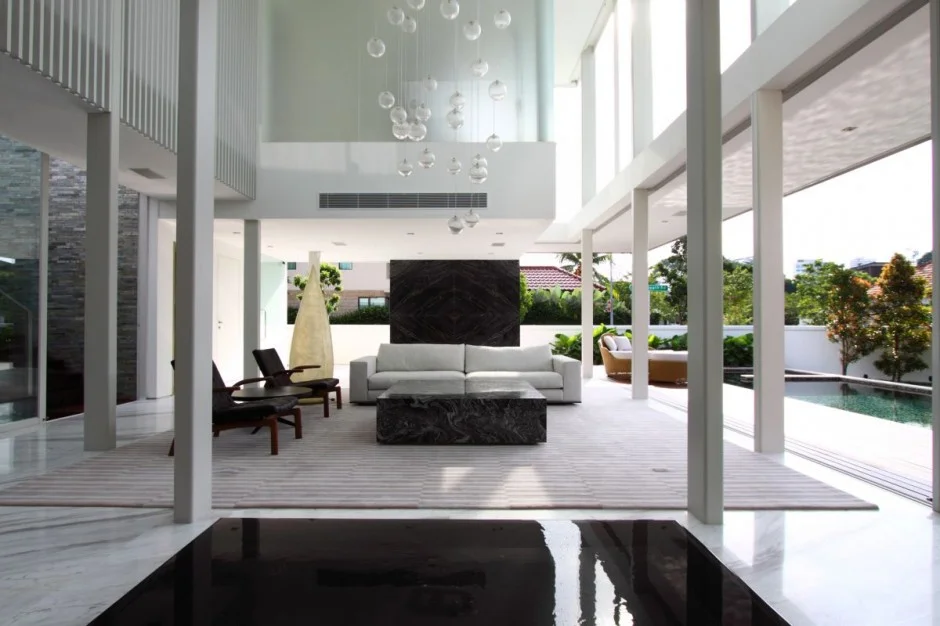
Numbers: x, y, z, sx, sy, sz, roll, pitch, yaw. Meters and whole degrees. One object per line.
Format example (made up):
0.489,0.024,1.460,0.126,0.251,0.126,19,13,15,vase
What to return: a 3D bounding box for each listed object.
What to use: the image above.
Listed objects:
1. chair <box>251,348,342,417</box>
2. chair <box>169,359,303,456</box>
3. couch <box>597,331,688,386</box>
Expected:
-2.499,0.996,9.180,1.161,0.996,0.888,2,1,3,chair
-2.528,1.069,7.396,1.386,1.089,1.072,2,-2,1,chair
3.514,0.929,12.642,0.945,0.695,1.451,2,-4,-34,couch
